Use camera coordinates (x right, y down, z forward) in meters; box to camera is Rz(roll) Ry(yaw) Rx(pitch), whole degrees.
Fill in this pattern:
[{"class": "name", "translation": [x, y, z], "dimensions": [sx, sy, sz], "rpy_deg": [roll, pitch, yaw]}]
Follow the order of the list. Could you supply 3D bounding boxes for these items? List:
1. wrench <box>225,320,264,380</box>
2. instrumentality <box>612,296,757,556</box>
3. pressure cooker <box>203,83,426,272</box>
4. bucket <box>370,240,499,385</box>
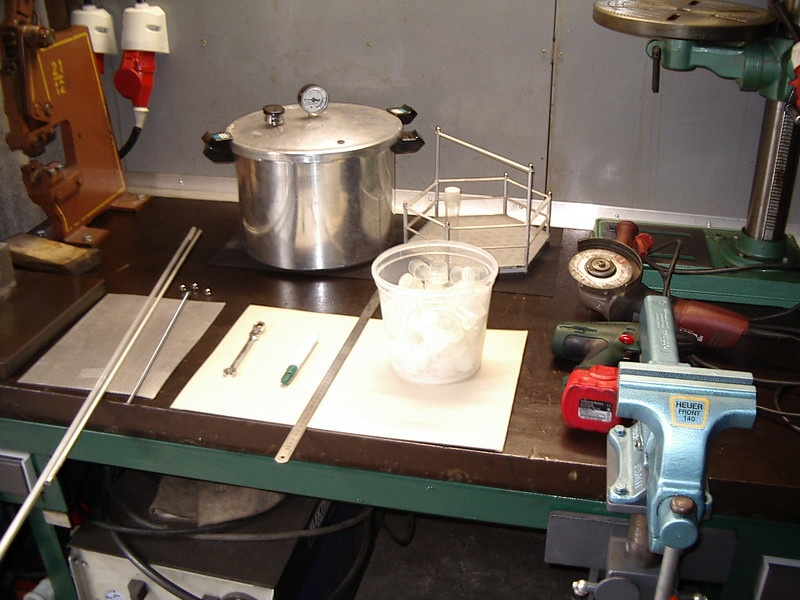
[{"class": "wrench", "translation": [-0.327, 0.094, 1.377], "dimensions": [0.042, 0.210, 0.020], "rpy_deg": [31, 49, -7]}, {"class": "instrumentality", "translation": [0.341, 0.134, 0.958], "dimensions": [0.153, 0.195, 0.404], "rpy_deg": [1, 47, 7]}, {"class": "pressure cooker", "translation": [-0.215, -0.324, 1.673], "dimensions": [0.498, 0.393, 0.376], "rpy_deg": [-6, 33, -12]}, {"class": "bucket", "translation": [0.046, 0.010, 1.386], "dimensions": [0.277, 0.228, 0.265], "rpy_deg": [-1, 25, 0]}]
